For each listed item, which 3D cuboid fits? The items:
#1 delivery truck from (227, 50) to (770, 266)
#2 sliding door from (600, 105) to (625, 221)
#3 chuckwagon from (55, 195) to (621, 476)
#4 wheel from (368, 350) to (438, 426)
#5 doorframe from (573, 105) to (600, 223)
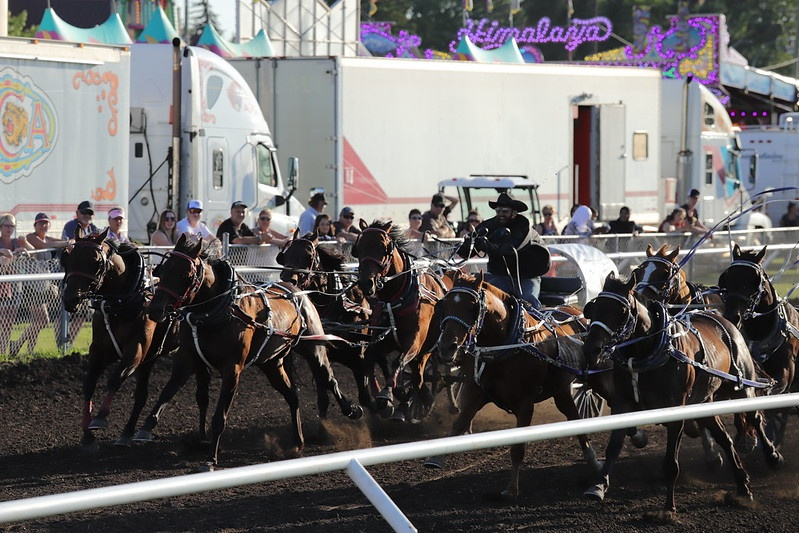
[{"bbox_3d":[2.455,-2.977,42.256,16.216,6.328,4.459,-4,6,-36],"label":"delivery truck"},{"bbox_3d":[5.062,-2.475,41.108,0.631,3.008,0.253,1,-23,4],"label":"sliding door"},{"bbox_3d":[-1.218,1.350,29.914,12.146,5.887,2.500,6,-12,-24],"label":"chuckwagon"},{"bbox_3d":[0.062,2.091,30.671,0.556,1.400,2.294,-4,-20,14],"label":"wheel"},{"bbox_3d":[4.347,-2.571,41.089,0.532,2.480,0.123,2,-3,-22],"label":"doorframe"}]
